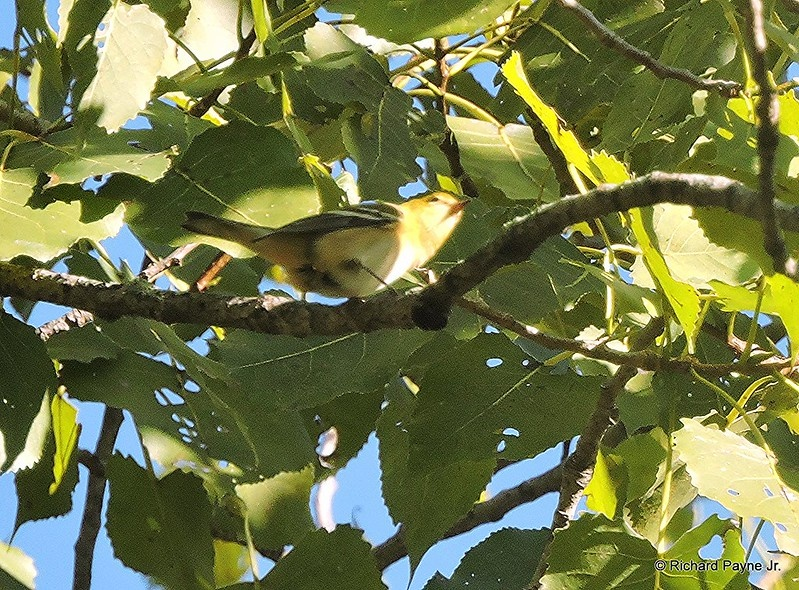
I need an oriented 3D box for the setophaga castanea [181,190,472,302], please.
[{"bbox_3d":[-0.086,-0.062,1.512,0.369,0.143,0.118,1,-34,-6],"label":"setophaga castanea"}]
